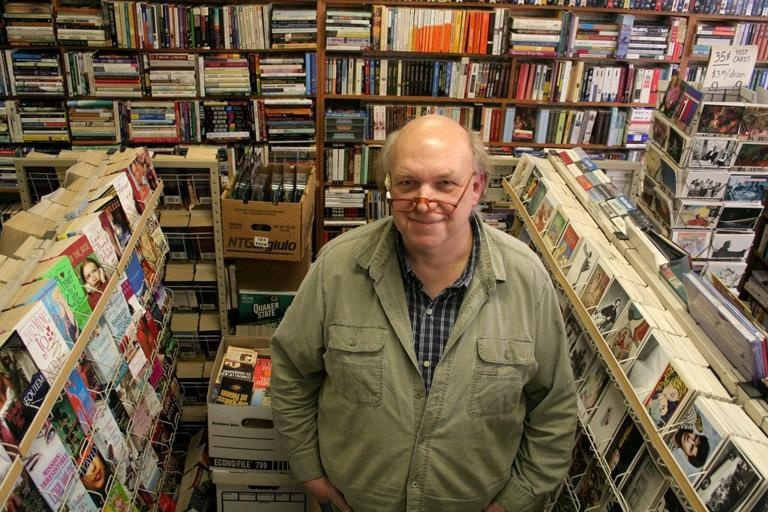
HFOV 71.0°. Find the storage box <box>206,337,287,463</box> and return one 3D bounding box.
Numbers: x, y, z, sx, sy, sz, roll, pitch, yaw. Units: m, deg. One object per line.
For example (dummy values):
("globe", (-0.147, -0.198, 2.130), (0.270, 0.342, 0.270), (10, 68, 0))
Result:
("storage box", (-0.700, 0.797, 2.862), (0.538, 0.331, 0.540), (1, 46, -4))

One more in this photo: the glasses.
("glasses", (0.173, -0.211, 1.922), (0.314, 0.149, 0.150), (1, 10, 2))

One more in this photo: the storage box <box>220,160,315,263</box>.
("storage box", (-0.740, -0.306, 3.502), (0.576, 0.412, 0.679), (4, 29, -2))
